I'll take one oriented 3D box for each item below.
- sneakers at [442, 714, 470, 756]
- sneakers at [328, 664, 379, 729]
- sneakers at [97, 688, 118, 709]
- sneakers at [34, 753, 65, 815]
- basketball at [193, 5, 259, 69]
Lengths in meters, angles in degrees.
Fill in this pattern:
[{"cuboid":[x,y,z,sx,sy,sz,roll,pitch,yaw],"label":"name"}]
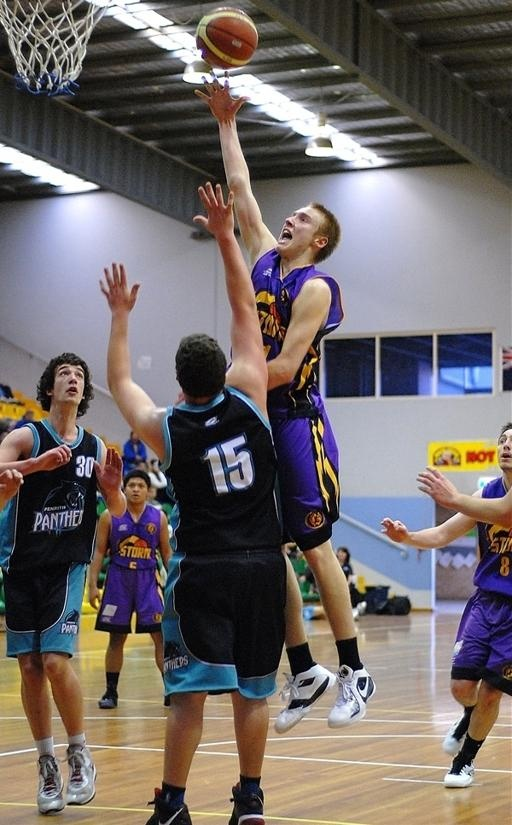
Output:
[{"cuboid":[1.010,1.635,3.911,0.092,0.113,0.267,11,34,6],"label":"sneakers"},{"cuboid":[0.309,0.928,2.612,0.097,0.125,0.285,-14,16,26],"label":"sneakers"},{"cuboid":[-1.136,2.200,5.983,0.078,0.150,0.227,4,-1,-18],"label":"sneakers"},{"cuboid":[-0.762,1.400,2.976,0.086,0.112,0.249,-4,24,-2],"label":"sneakers"},{"cuboid":[-0.116,-1.443,3.079,0.263,0.263,0.266,1,24,-5],"label":"basketball"}]
